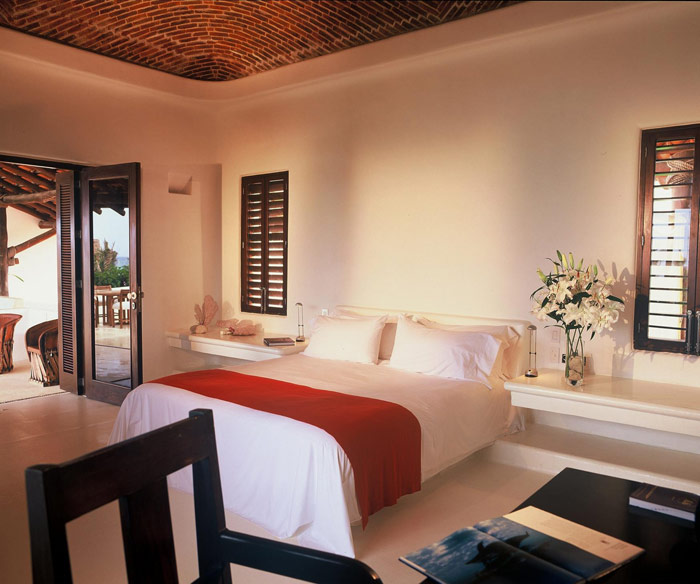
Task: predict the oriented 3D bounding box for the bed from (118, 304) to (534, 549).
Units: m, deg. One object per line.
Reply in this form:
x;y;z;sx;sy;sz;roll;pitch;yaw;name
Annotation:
-0.248;0.877;3.833;2.249;0.805;2.594;3;0;22;bed

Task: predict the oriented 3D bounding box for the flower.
1.627;0.157;3.725;0.669;0.929;0.578;4;5;30;flower
